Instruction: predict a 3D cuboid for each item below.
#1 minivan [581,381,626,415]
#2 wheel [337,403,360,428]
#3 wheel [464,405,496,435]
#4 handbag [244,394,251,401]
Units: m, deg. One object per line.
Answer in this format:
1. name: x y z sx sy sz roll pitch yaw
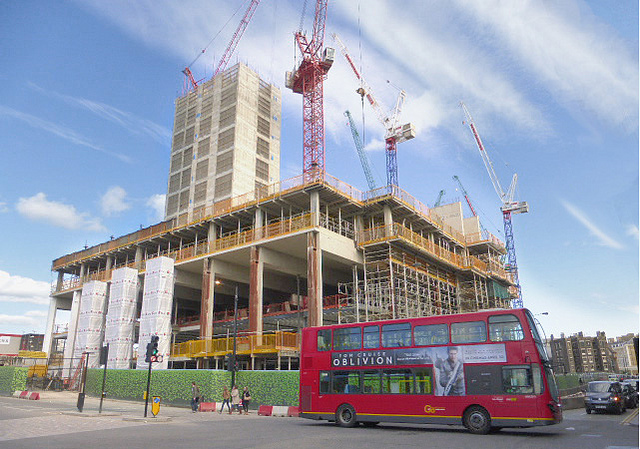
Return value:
1. minivan: 21.798 13.487 35.961 2.123 1.756 3.393 -16 -46 30
2. wheel: 1.598 10.806 26.523 1.333 1.359 0.479 -11 -9 31
3. wheel: 8.042 10.053 23.893 1.414 1.438 0.533 -8 -20 37
4. handbag: -5.268 12.739 34.242 0.465 0.404 0.335 -5 -14 16
